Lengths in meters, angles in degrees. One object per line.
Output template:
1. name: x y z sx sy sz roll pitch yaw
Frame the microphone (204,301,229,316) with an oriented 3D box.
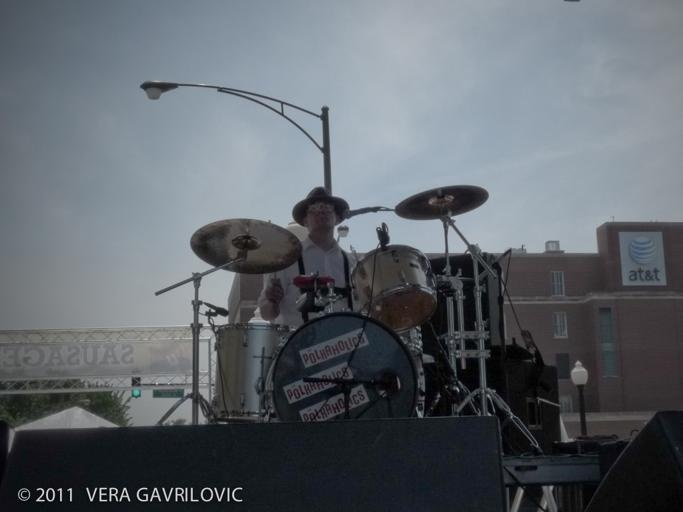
1. microphone: -1.208 0.530 9.307 0.315 0.136 0.098 2 0 -45

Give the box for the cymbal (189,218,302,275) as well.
1. cymbal: -0.855 -0.098 8.388 0.984 0.474 0.584 2 0 0

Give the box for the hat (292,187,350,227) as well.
1. hat: -0.205 -0.469 8.949 0.430 0.141 0.474 1 -41 -9

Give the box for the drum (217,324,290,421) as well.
1. drum: -0.934 1.105 9.074 0.848 0.951 0.887 2 -5 -10

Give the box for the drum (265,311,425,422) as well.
1. drum: 0.028 0.838 7.102 1.093 0.818 0.300 2 0 -6

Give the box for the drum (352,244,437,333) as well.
1. drum: 0.431 0.298 7.820 0.592 0.788 0.558 5 -6 1

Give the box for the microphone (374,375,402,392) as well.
1. microphone: 0.351 0.963 7.060 0.193 0.144 0.036 2 0 -4

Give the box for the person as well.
1. person: -0.340 0.003 8.855 0.611 1.801 0.586 0 -5 1
